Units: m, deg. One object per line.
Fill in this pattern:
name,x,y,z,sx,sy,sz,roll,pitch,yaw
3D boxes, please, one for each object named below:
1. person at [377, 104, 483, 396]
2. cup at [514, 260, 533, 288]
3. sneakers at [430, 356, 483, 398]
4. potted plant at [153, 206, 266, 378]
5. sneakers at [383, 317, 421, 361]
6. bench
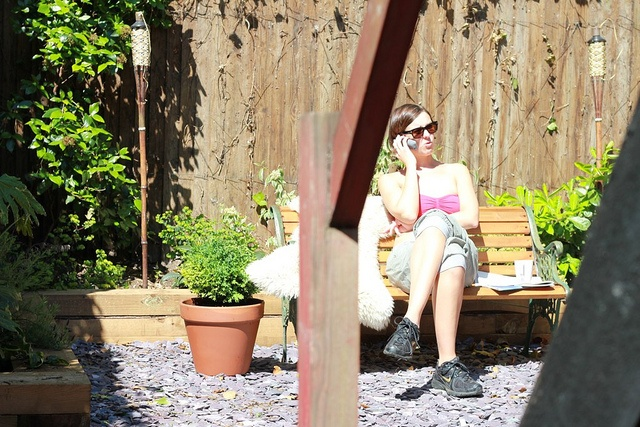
person,0.720,0.197,4.285,0.699,1.779,1.087,2,9,6
cup,1.379,0.406,4.531,0.130,0.189,0.123,1,-8,0
sneakers,0.834,1.003,4.034,0.182,0.213,0.388,4,0,-31
potted plant,-0.676,0.549,4.367,0.658,0.957,0.518,-1,-4,-21
sneakers,0.505,0.740,3.969,0.162,0.189,0.395,9,12,17
bench,0.907,0.480,4.679,1.531,0.913,0.692,-3,17,-11
